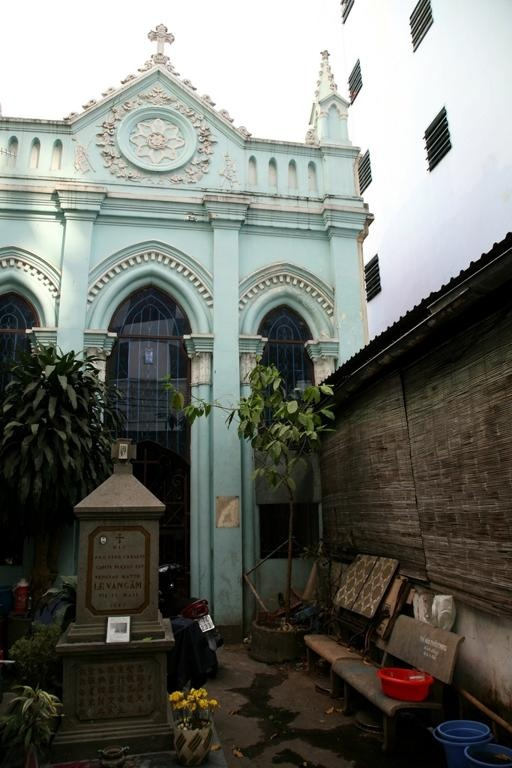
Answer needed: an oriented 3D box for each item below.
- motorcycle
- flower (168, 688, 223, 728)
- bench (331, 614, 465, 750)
[{"bbox_3d":[-0.839,2.860,6.375,0.649,1.110,2.452,-1,-10,-11],"label":"motorcycle"},{"bbox_3d":[-0.385,2.227,3.644,0.359,0.273,0.369,11,-30,-16],"label":"flower"},{"bbox_3d":[1.064,2.329,4.213,0.554,0.854,1.284,7,-16,-5],"label":"bench"}]
